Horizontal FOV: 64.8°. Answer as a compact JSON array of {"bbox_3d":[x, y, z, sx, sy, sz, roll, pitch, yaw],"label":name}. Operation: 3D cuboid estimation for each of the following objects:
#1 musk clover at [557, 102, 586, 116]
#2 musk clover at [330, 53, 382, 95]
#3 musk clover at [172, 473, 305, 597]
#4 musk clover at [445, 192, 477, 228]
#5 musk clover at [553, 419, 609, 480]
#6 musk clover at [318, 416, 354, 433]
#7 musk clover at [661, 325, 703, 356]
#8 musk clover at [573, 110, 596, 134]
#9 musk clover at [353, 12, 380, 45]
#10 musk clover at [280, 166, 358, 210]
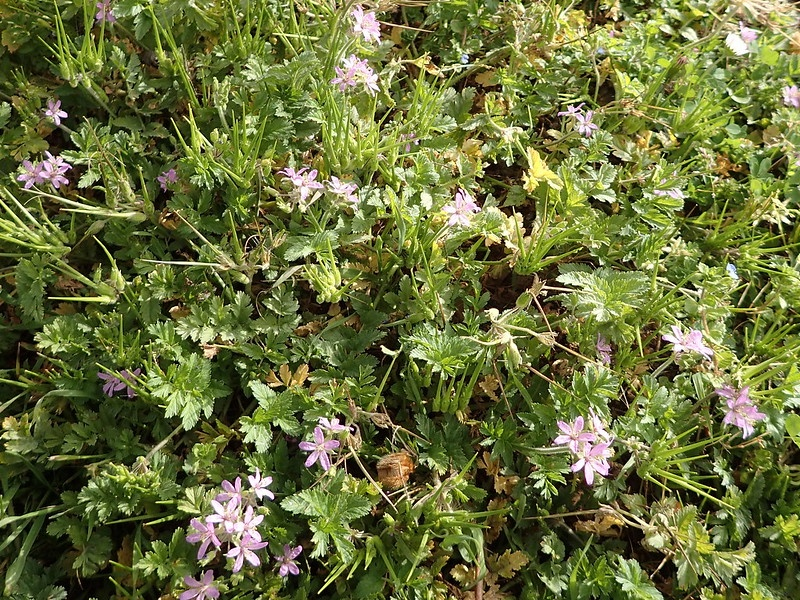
[{"bbox_3d":[0.939,-1.055,3.463,0.048,0.124,0.128,65,24,-6],"label":"musk clover"},{"bbox_3d":[-0.209,-1.076,3.087,0.214,0.106,0.236,10,69,12],"label":"musk clover"},{"bbox_3d":[-0.668,0.918,2.514,0.491,0.196,0.540,-14,95,-39],"label":"musk clover"},{"bbox_3d":[0.294,-0.418,2.963,0.156,0.061,0.169,-16,87,-7],"label":"musk clover"},{"bbox_3d":[0.761,0.623,2.706,0.246,0.102,0.271,-10,80,-15],"label":"musk clover"},{"bbox_3d":[-0.280,0.530,2.664,0.085,0.028,0.089,14,19,-17],"label":"musk clover"},{"bbox_3d":[1.293,0.199,2.863,0.152,0.061,0.167,2,49,5],"label":"musk clover"},{"bbox_3d":[0.990,-0.956,3.362,0.124,0.033,0.145,18,76,1],"label":"musk clover"},{"bbox_3d":[-0.163,-1.289,2.995,0.142,0.052,0.156,-13,91,-27],"label":"musk clover"},{"bbox_3d":[-0.359,-0.518,2.925,0.368,0.189,0.199,7,58,-17],"label":"musk clover"}]
